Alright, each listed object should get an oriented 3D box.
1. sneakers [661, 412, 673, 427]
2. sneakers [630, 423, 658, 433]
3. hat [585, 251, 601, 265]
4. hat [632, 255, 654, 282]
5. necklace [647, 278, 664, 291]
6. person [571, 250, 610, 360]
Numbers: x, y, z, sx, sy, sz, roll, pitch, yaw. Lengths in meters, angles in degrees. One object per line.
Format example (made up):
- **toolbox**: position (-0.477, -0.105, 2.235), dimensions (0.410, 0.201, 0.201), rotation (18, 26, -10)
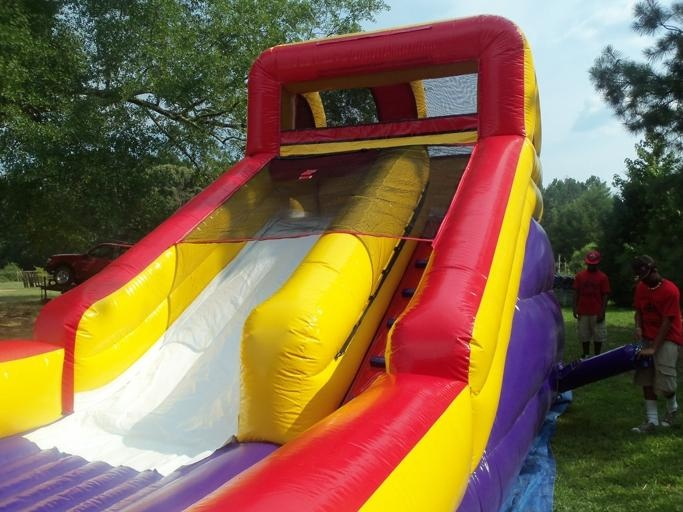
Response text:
- **sneakers**: position (3.321, 1.684, 5.702), dimensions (0.060, 0.082, 0.210), rotation (4, 29, 36)
- **sneakers**: position (3.052, 1.737, 5.638), dimensions (0.167, 0.065, 0.126), rotation (-5, -4, 2)
- **hat**: position (4.084, 0.024, 9.062), dimensions (0.287, 0.177, 0.436), rotation (3, 19, 30)
- **hat**: position (3.073, 0.145, 5.653), dimensions (0.219, 0.299, 0.188), rotation (3, 9, 30)
- **necklace**: position (3.194, 0.291, 5.675), dimensions (0.108, 0.087, 0.108), rotation (-6, 6, -37)
- **person**: position (3.573, 0.732, 8.040), dimensions (0.450, 1.701, 1.169), rotation (2, 8, 25)
